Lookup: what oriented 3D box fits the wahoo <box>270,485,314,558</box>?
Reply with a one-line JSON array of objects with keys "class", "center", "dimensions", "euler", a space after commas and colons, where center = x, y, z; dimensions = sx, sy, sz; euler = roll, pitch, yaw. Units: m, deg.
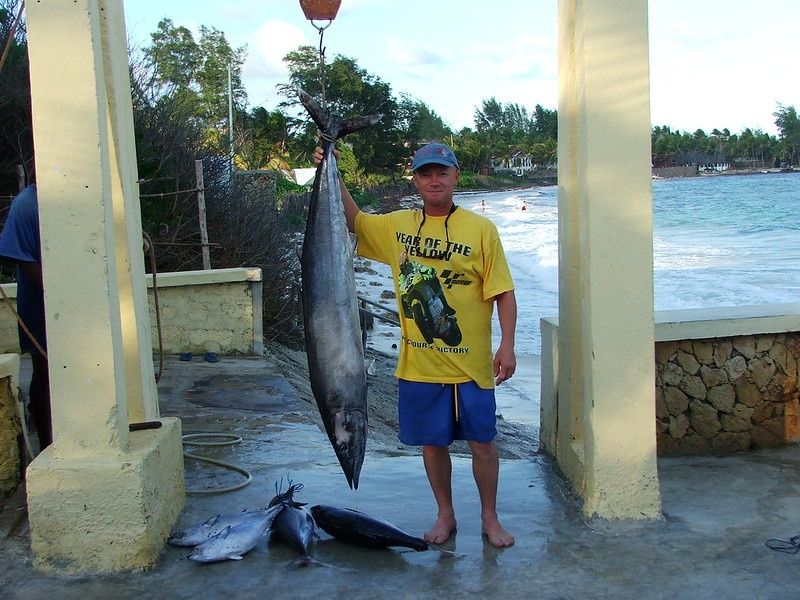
[{"class": "wahoo", "center": [-0.580, 1.158, 3.433], "dimensions": [0.207, 0.162, 0.410], "euler": [40, 6, -32]}]

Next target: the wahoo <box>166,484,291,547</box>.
[{"class": "wahoo", "center": [-0.943, 1.179, 3.545], "dimensions": [0.514, 0.186, 0.115], "euler": [-17, -24, -34]}]

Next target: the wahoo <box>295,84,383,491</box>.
[{"class": "wahoo", "center": [-0.327, -0.056, 3.457], "dimensions": [0.452, 1.980, 0.291], "euler": [-7, -9, 1]}]

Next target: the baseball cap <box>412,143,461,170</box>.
[{"class": "baseball cap", "center": [0.182, -0.768, 3.515], "dimensions": [0.234, 0.159, 0.248], "euler": [-1, 8, 0]}]

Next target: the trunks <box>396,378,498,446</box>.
[{"class": "trunks", "center": [0.237, 0.587, 3.629], "dimensions": [0.620, 0.505, 0.336], "euler": [0, -7, 0]}]

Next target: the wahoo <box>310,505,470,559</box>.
[{"class": "wahoo", "center": [-0.063, 1.243, 3.470], "dimensions": [0.643, 0.118, 0.143], "euler": [8, 12, 29]}]
